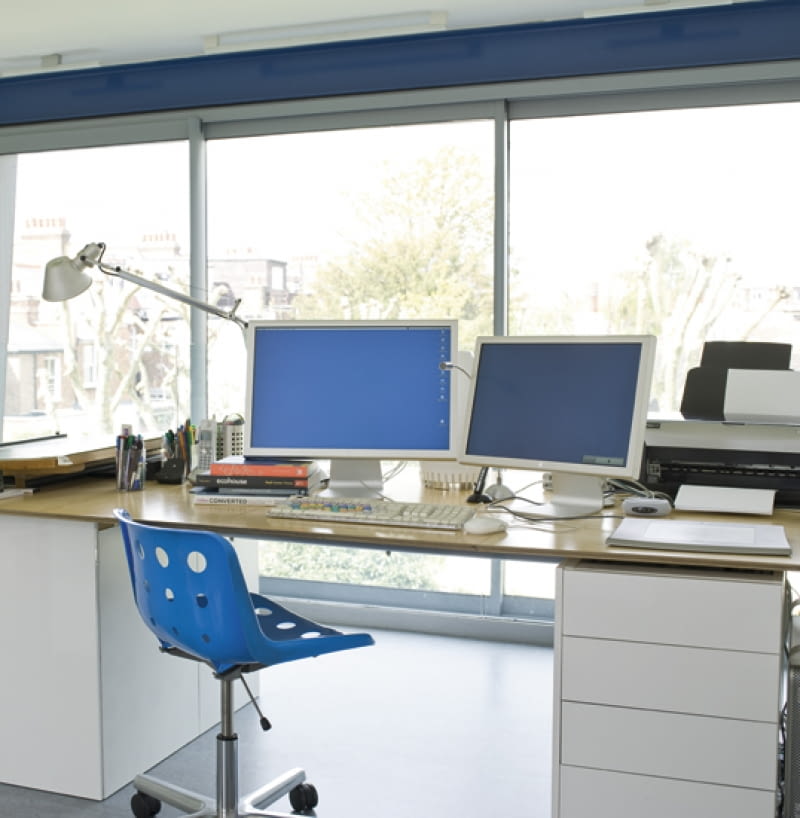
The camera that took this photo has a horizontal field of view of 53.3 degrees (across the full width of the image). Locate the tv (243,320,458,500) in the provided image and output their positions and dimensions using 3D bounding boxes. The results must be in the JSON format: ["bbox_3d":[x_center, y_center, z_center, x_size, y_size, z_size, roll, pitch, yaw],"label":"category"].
[{"bbox_3d":[-0.151,-0.017,2.257,0.509,0.410,0.163,0,-4,7],"label":"tv"}]

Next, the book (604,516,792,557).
[{"bbox_3d":[0.644,0.269,1.736,0.349,0.033,0.340,3,4,20],"label":"book"}]

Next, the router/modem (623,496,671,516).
[{"bbox_3d":[0.638,0.244,2.050,0.117,0.039,0.181,3,4,19],"label":"router/modem"}]

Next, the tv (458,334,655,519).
[{"bbox_3d":[0.410,0.042,2.028,0.468,0.437,0.203,3,3,34],"label":"tv"}]
